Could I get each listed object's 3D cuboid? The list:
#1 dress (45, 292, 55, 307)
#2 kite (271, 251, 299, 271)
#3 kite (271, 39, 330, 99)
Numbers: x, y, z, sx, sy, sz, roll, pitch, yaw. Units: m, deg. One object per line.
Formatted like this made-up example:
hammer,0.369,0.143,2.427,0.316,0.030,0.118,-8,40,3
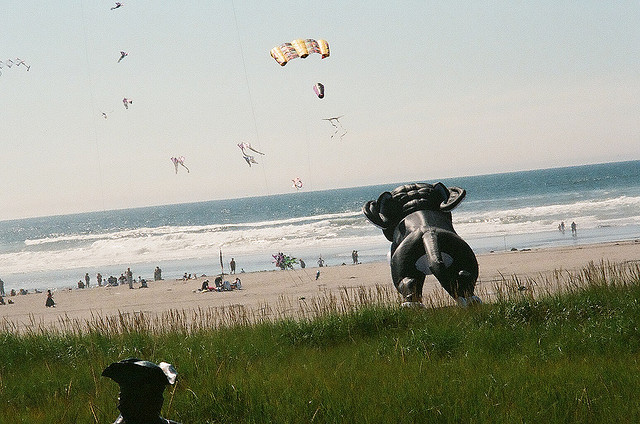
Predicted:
dress,-11.131,3.660,37.830,0.480,0.662,0.374,-3,-1,-18
kite,-1.579,2.262,40.988,1.213,0.884,1.177,-8,-1,-1
kite,-0.566,-4.754,29.515,1.668,1.646,2.076,-5,1,-6
